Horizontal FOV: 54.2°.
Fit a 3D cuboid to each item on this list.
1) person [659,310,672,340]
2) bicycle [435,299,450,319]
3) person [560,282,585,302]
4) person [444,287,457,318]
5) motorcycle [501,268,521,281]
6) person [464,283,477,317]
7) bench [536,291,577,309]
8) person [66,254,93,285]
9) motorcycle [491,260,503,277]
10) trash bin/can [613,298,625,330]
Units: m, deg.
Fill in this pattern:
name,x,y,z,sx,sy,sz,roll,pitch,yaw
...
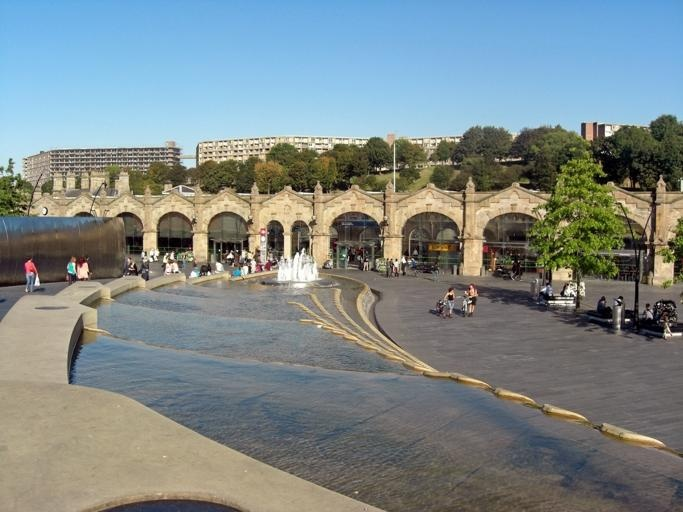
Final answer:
name,x,y,z,sx,sy,sz,roll,pitch,yaw
person,13.753,2.863,28.102,0.482,0.948,1.177,8,5,27
bicycle,4.954,2.522,32.817,0.577,0.390,0.780,0,10,1
person,13.378,2.079,38.741,1.232,0.649,1.674,-1,7,24
person,5.437,2.184,33.202,0.466,1.336,2.396,7,4,9
motorcycle,13.578,1.525,53.660,1.305,0.799,0.690,-1,2,45
person,6.457,2.072,33.131,0.573,1.532,2.443,7,4,10
bench,11.943,2.465,37.042,2.384,0.515,2.336,8,5,29
person,-12.775,0.653,32.309,1.329,1.689,0.607,2,13,6
motorcycle,13.220,1.032,56.487,1.415,1.316,1.016,1,-3,-18
trash bin/can,12.737,2.713,30.648,0.549,1.018,2.068,8,5,24
